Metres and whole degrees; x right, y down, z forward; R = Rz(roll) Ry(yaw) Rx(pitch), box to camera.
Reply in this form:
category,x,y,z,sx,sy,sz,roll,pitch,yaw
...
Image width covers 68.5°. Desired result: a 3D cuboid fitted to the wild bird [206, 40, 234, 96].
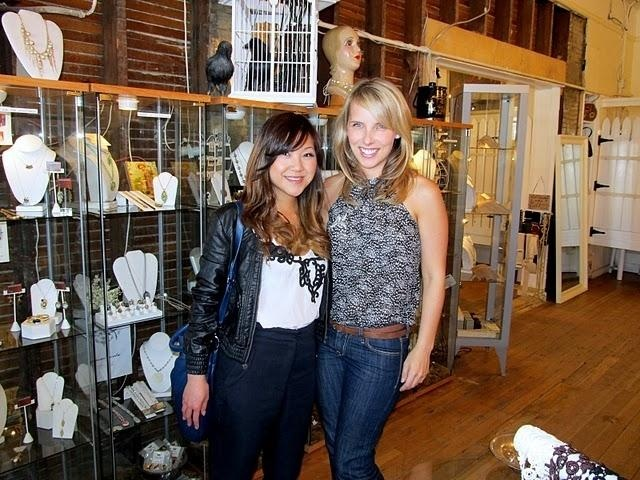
category,x,y,z,sx,sy,sz,roll,pitch,yaw
wild bird,-0.516,-0.880,2.416,0.140,0.252,0.133,-1,11,-8

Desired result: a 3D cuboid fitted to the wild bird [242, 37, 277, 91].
category,x,y,z,sx,sy,sz,roll,pitch,yaw
wild bird,-0.328,-0.919,2.464,0.127,0.271,0.055,-1,10,-10

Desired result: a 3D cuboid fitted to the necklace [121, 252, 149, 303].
category,x,y,z,sx,sy,sz,roll,pitch,yaw
necklace,-0.951,0.188,2.439,0.090,0.237,0.054,-13,10,-35

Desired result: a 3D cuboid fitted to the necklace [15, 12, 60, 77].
category,x,y,z,sx,sy,sz,roll,pitch,yaw
necklace,-1.360,-0.946,2.281,0.056,0.308,0.214,7,12,33

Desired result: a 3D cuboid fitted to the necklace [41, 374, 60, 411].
category,x,y,z,sx,sy,sz,roll,pitch,yaw
necklace,-1.251,0.715,2.203,0.084,0.143,0.029,0,6,-21

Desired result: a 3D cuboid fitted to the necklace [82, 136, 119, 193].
category,x,y,z,sx,sy,sz,roll,pitch,yaw
necklace,-1.012,-0.351,2.145,0.109,0.254,0.206,1,14,0
